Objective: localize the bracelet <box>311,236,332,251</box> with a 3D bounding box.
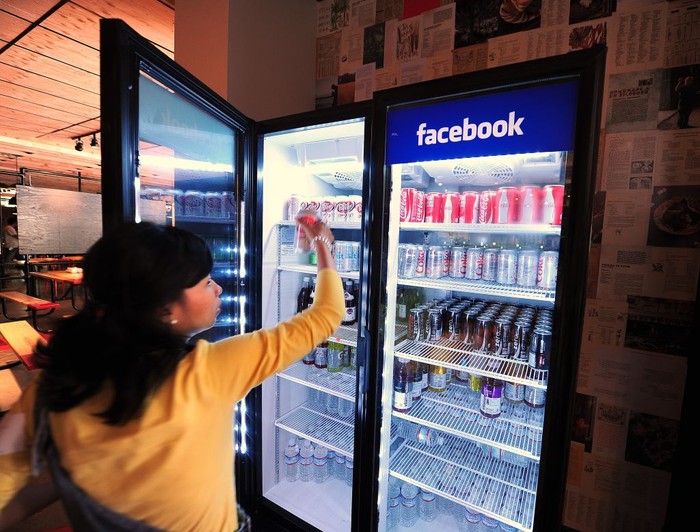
[{"bbox_3d":[-0.127,-0.116,2.357,0.066,0.043,0.078,3,-22,0],"label":"bracelet"}]
